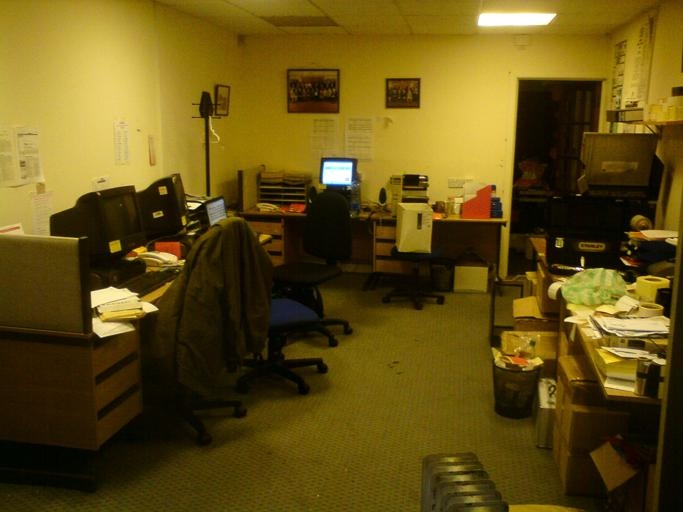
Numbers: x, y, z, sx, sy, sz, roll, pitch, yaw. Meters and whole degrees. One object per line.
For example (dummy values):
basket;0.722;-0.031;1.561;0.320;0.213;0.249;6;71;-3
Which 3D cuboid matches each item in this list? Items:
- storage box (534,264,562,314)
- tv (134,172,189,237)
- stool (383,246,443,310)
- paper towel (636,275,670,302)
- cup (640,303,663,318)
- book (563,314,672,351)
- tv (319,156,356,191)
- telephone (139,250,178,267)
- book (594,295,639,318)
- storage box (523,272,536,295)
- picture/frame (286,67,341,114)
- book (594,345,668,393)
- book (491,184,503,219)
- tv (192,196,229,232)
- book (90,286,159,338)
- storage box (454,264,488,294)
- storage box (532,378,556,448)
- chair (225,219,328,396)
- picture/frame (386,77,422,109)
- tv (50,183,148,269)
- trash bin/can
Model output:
storage box;1.419;0.236;3.767;0.190;0.216;0.338;1;12;7
tv;-1.337;-0.387;4.439;0.457;0.518;0.622;4;17;-2
stool;0.810;0.180;5.963;0.695;0.571;0.611;5;24;4
paper towel;1.662;0.163;2.945;0.153;0.137;0.145;0;10;3
cup;1.532;0.263;2.712;0.074;0.050;0.075;-2;11;0
book;1.307;0.350;2.647;0.458;0.112;0.386;9;16;31
tv;-0.040;-0.970;6.390;0.455;0.337;0.249;11;18;37
telephone;-1.293;0.021;3.914;0.202;0.054;0.139;4;7;6
book;1.425;0.270;2.828;0.142;0.045;0.142;1;10;13
storage box;1.603;0.242;4.688;0.102;0.165;0.179;0;19;9
picture/frame;-0.312;-2.033;6.627;0.628;0.424;0.021;1;8;4
book;1.233;0.475;2.362;0.257;0.141;0.263;7;15;25
book;1.763;-0.621;6.213;0.142;0.315;0.596;4;14;15
tv;-1.082;-0.343;4.496;0.207;0.248;0.372;5;24;18
book;-1.165;0.299;2.906;0.273;0.104;0.284;1;15;-15
storage box;1.447;0.267;6.156;0.347;0.241;0.338;1;8;9
storage box;1.238;0.976;3.358;0.119;0.202;0.352;0;14;16
chair;-0.439;0.582;4.040;0.698;0.556;0.662;4;24;0
picture/frame;0.750;-1.944;6.456;0.416;0.301;0.041;0;7;1
tv;-1.454;-0.239;3.626;0.542;0.615;0.701;5;10;7
trash bin/can;1.092;0.875;3.636;0.403;0.375;0.386;1;9;10
